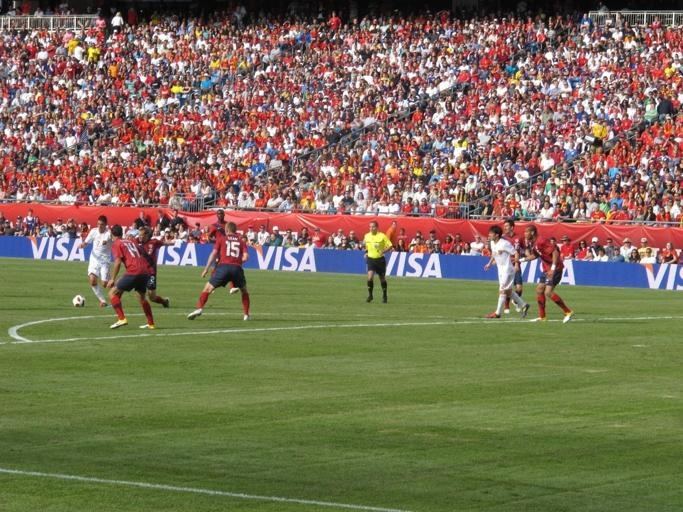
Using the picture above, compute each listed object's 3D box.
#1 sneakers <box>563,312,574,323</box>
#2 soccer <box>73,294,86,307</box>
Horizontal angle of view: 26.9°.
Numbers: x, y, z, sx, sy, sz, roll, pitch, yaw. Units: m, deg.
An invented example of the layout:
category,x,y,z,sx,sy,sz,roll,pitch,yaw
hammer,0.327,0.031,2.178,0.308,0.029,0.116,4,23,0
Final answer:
category,x,y,z,sx,sy,sz,roll,pitch,yaw
sneakers,5.101,1.358,32.387,0.141,0.164,0.406,-2,15,28
soccer,-6.354,1.086,34.446,0.245,0.331,0.654,-2,10,-14
